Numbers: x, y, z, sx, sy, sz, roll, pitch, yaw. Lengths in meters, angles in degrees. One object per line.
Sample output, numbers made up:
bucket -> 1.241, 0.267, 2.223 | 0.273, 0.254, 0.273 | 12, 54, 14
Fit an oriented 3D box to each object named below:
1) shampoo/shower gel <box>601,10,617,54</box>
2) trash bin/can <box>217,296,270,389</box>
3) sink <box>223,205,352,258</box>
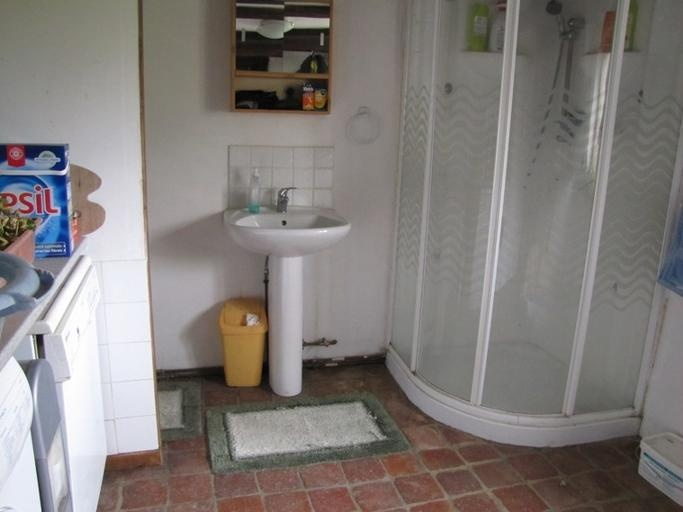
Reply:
shampoo/shower gel -> 1.197, -1.003, 2.341 | 0.049, 0.178, 0.025 | 5, 19, 16
trash bin/can -> -0.565, 0.518, 3.089 | 0.357, 0.583, 0.452 | 0, 8, -8
sink -> -0.301, -0.123, 2.866 | 0.652, 0.207, 0.533 | -4, 18, -12
